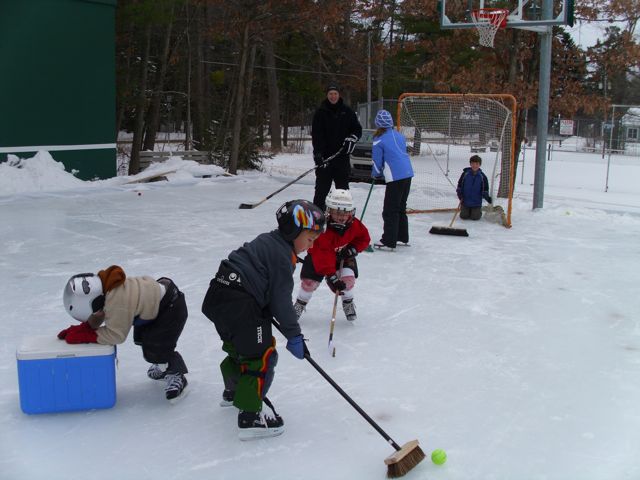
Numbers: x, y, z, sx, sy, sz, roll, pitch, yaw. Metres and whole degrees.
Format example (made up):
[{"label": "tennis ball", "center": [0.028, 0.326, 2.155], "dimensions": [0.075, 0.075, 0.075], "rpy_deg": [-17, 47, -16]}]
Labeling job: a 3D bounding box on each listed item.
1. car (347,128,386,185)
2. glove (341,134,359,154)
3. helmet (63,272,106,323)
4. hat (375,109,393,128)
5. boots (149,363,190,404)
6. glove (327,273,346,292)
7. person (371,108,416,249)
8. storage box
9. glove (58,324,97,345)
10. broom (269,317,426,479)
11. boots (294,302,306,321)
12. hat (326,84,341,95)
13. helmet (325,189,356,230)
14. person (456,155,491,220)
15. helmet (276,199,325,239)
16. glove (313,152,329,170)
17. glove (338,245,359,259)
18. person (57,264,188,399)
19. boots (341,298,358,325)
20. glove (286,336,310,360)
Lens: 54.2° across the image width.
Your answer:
[{"label": "car", "center": [0.889, -1.770, 13.359], "dimensions": [0.881, 0.918, 1.549], "rpy_deg": [3, 6, 27]}, {"label": "glove", "center": [0.351, -1.271, 8.168], "dimensions": [0.106, 0.272, 0.219], "rpy_deg": [27, 3, 38]}, {"label": "helmet", "center": [-1.456, 0.349, 3.816], "dimensions": [0.278, 0.284, 0.217], "rpy_deg": [3, 14, 1]}, {"label": "hat", "center": [0.742, -1.448, 7.401], "dimensions": [0.171, 0.163, 0.244], "rpy_deg": [-5, 29, -8]}, {"label": "boots", "center": [-1.061, 0.931, 4.208], "dimensions": [0.362, 0.134, 0.157], "rpy_deg": [31, 6, 29]}, {"label": "glove", "center": [0.139, 0.360, 5.181], "dimensions": [0.118, 0.056, 0.162], "rpy_deg": [-6, 45, -50]}, {"label": "person", "center": [0.851, -0.715, 7.491], "dimensions": [0.491, 1.671, 0.499], "rpy_deg": [3, 6, 9]}, {"label": "storage box", "center": [-1.581, 0.849, 3.853], "dimensions": [0.628, 0.437, 0.436], "rpy_deg": [2, 7, -11]}, {"label": "glove", "center": [-1.531, 0.586, 3.915], "dimensions": [0.160, 0.056, 0.163], "rpy_deg": [-9, 30, -18]}, {"label": "broom", "center": [0.312, 1.052, 3.752], "dimensions": [0.353, 0.482, 0.675], "rpy_deg": [-3, 8, -43]}, {"label": "boots", "center": [-0.178, 0.578, 5.270], "dimensions": [0.086, 0.231, 0.095], "rpy_deg": [2, -15, 0]}, {"label": "hat", "center": [0.166, -1.910, 7.948], "dimensions": [0.128, 0.112, 0.140], "rpy_deg": [-2, 12, -4]}, {"label": "helmet", "center": [0.139, -0.257, 5.112], "dimensions": [0.231, 0.294, 0.312], "rpy_deg": [2, 42, -10]}, {"label": "person", "center": [2.287, -0.761, 9.209], "dimensions": [0.512, 0.958, 0.629], "rpy_deg": [4, 6, 14]}, {"label": "helmet", "center": [-0.125, -0.114, 3.853], "dimensions": [0.272, 0.220, 0.206], "rpy_deg": [21, 6, 4]}, {"label": "glove", "center": [-0.004, -1.010, 8.108], "dimensions": [0.220, 0.193, 0.172], "rpy_deg": [1, 6, -15]}, {"label": "glove", "center": [0.237, 0.111, 5.304], "dimensions": [0.117, 0.094, 0.047], "rpy_deg": [-11, 14, 11]}, {"label": "person", "center": [-1.230, 0.436, 4.245], "dimensions": [1.001, 1.062, 0.619], "rpy_deg": [-3, 22, -22]}, {"label": "boots", "center": [0.246, 0.598, 5.344], "dimensions": [0.084, 0.224, 0.093], "rpy_deg": [-18, -1, 12]}, {"label": "glove", "center": [-0.143, 0.659, 3.800], "dimensions": [0.139, 0.061, 0.137], "rpy_deg": [24, -43, -33]}]
